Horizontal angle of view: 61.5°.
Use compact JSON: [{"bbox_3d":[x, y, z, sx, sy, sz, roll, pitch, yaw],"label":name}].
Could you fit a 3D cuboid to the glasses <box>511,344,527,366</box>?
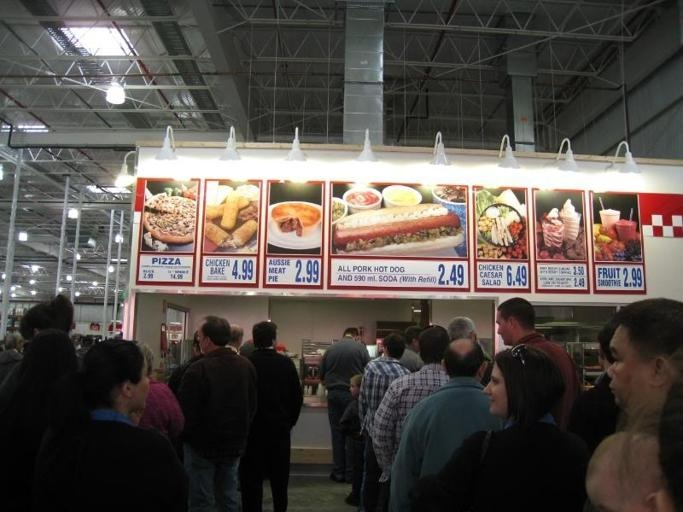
[{"bbox_3d":[0.670,0.371,2.173,0.036,0.064,0.049,-4,15,2],"label":"glasses"}]
